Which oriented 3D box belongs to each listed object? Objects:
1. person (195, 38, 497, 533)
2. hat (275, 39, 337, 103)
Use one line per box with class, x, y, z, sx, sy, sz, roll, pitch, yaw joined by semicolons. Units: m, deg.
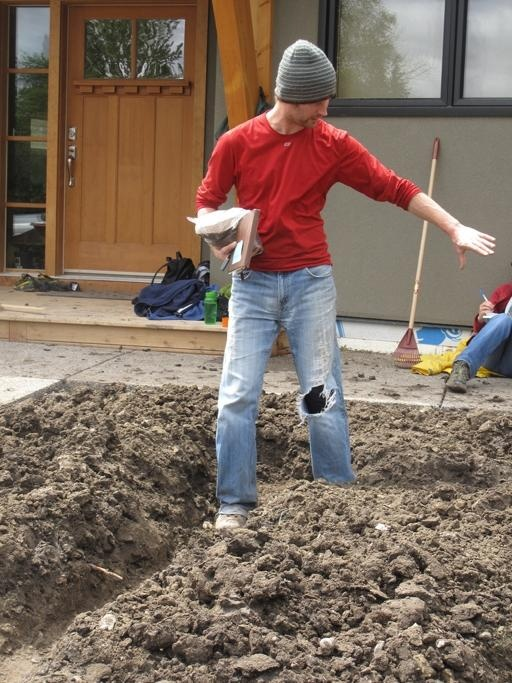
person;0.216;-0.186;3.147;0.859;1.800;0.457;2;6;-14
hat;0.154;-0.946;2.926;0.241;0.219;0.228;-13;30;-2
